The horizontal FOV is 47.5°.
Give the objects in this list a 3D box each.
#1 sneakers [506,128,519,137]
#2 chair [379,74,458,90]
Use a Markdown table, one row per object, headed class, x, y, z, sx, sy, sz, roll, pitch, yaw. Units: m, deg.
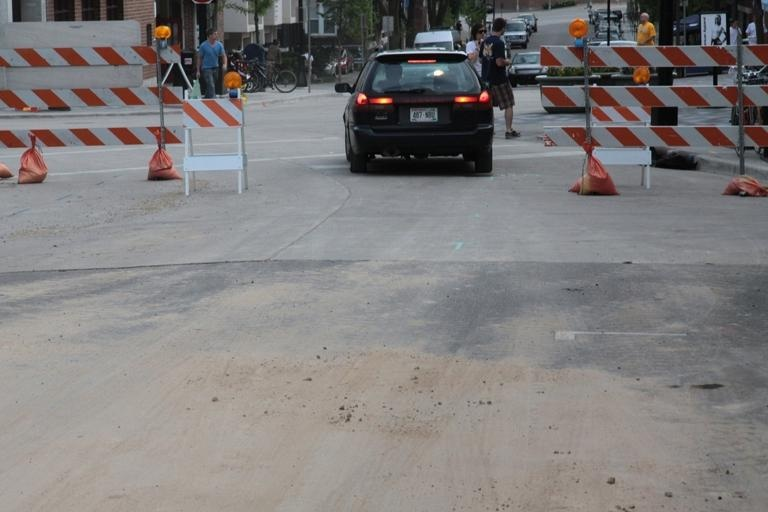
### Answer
| class | x | y | z | sx | sy | sz | roll | pitch | yaw |
| --- | --- | --- | --- | --- | --- | --- | --- | --- | --- |
| sneakers | 2.826 | -2.677 | 19.050 | 0.138 | 0.156 | 0.324 | 5 | 18 | 20 |
| chair | 0.493 | -2.700 | 13.682 | 1.254 | 0.214 | 0.182 | -1 | 13 | 1 |
